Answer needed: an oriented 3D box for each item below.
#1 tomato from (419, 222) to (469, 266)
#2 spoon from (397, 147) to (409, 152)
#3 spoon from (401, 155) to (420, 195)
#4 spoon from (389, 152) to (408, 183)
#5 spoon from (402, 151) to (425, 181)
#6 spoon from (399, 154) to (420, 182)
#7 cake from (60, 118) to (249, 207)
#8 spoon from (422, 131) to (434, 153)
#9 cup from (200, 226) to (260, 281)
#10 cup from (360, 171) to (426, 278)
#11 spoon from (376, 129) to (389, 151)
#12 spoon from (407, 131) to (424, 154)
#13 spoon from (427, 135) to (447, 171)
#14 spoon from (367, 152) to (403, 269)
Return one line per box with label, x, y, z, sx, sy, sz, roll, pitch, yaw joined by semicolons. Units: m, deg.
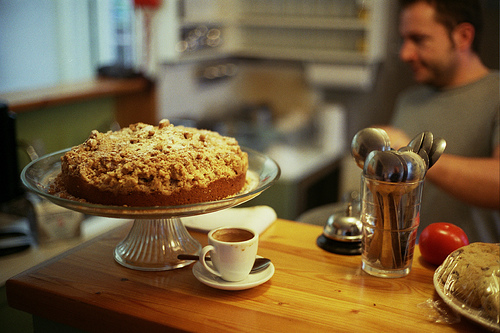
tomato;0.506;0.213;1.095;0.143;0.122;0.142;1;-8;17
spoon;0.361;-0.040;0.990;0.015;0.004;0.011;-14;-2;21
spoon;0.356;0.021;0.939;0.040;0.095;0.025;-6;21;-13
spoon;0.326;0.006;0.926;0.012;0.051;0.048;-8;32;24
spoon;0.362;-0.001;0.958;0.013;0.056;0.057;-12;-15;22
spoon;0.357;0.006;0.924;0.053;0.052;0.053;-2;-1;37
cake;-0.258;-0.046;1.098;0.454;0.197;0.338;-7;10;-23
spoon;0.418;-0.057;0.993;0.033;0.043;0.009;4;-7;45
cup;-0.039;0.200;1.014;0.150;0.097;0.097;-5;9;-29
cup;0.330;0.147;1.053;0.144;0.266;0.122;-1;11;-9
spoon;0.320;-0.065;1.001;0.016;0.042;0.039;-7;21;-16
spoon;0.402;-0.052;1.028;0.006;0.070;0.021;24;3;-45
spoon;0.452;-0.041;1.020;0.031;0.068;0.137;10;22;26
spoon;0.325;0.117;0.996;0.091;0.331;0.096;10;21;43
